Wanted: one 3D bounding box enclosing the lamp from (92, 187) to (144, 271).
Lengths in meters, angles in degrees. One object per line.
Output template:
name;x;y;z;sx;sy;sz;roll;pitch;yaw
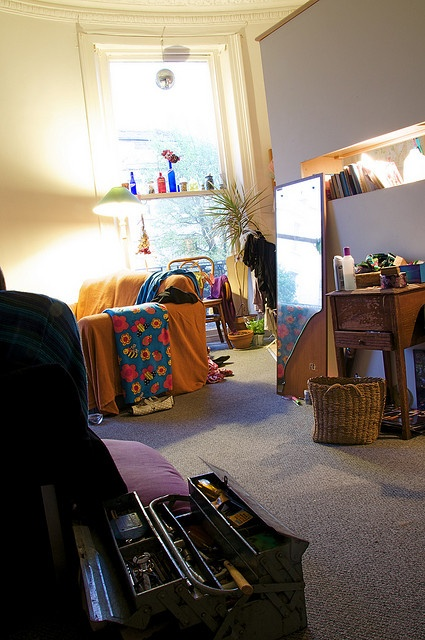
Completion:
lamp;-0.886;-0.861;4.432;0.420;0.882;0.432;-3;6;34

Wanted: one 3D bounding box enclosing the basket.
basket;0.633;0.421;2.104;0.370;0.283;0.370;1;-2;-42

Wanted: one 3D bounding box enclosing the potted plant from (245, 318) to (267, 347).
potted plant;0.444;0.135;4.964;0.270;0.304;0.273;0;1;1

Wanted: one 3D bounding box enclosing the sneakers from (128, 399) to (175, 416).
sneakers;-0.401;0.573;2.995;0.206;0.075;0.115;-7;5;-17

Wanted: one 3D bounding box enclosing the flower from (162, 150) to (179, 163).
flower;-0.478;-1.873;5.066;0.214;0.144;0.207;2;4;-10

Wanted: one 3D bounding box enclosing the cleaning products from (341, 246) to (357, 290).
cleaning products;0.701;-0.260;2.275;0.074;0.218;0.132;4;4;16

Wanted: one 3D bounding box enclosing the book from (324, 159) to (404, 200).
book;0.863;-0.781;2.491;0.275;0.124;0.378;-9;12;27

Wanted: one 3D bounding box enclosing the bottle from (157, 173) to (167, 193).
bottle;-0.581;-1.560;5.061;0.097;0.252;0.081;2;4;-10

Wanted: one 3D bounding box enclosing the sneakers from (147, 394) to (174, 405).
sneakers;-0.349;0.539;3.054;0.115;0.038;0.075;-3;2;-5
